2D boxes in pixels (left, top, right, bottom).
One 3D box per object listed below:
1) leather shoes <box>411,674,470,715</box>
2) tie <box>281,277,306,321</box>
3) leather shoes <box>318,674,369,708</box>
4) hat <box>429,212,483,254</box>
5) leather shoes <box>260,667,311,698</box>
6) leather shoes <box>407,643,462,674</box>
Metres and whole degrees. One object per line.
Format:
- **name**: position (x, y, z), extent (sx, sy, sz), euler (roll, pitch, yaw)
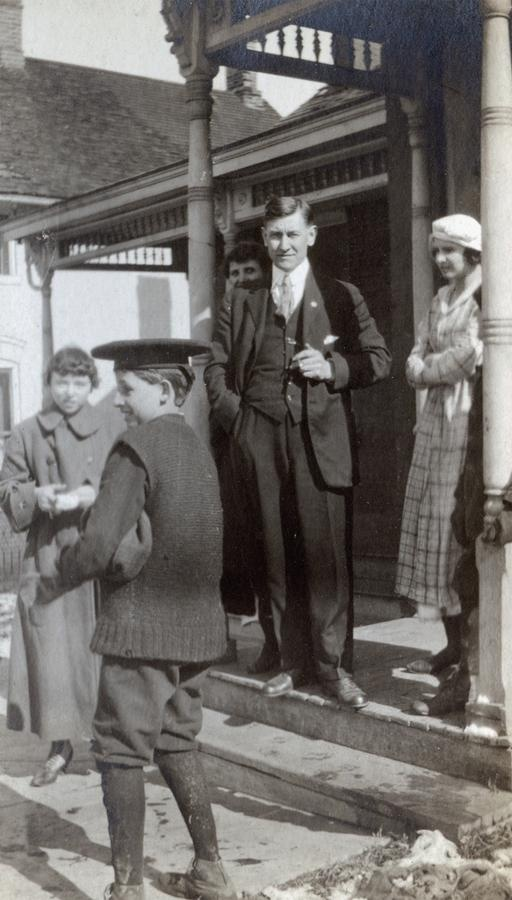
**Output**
- **leather shoes**: position (0.533, 0.688, 4.773), extent (0.172, 0.177, 0.082), euler (1, -2, -12)
- **tie**: position (0.104, -0.437, 4.755), extent (0.062, 0.216, 0.030), euler (8, 11, 30)
- **leather shoes**: position (0.253, 0.687, 4.826), extent (0.055, 0.105, 0.152), euler (-10, 18, -39)
- **hat**: position (0.558, -0.596, 4.706), extent (0.111, 0.124, 0.099), euler (14, 6, 19)
- **leather shoes**: position (0.090, 0.669, 4.870), extent (0.052, 0.065, 0.122), euler (-1, -2, 40)
- **leather shoes**: position (0.537, 0.651, 5.083), extent (0.066, 0.101, 0.195), euler (-15, -3, -44)
